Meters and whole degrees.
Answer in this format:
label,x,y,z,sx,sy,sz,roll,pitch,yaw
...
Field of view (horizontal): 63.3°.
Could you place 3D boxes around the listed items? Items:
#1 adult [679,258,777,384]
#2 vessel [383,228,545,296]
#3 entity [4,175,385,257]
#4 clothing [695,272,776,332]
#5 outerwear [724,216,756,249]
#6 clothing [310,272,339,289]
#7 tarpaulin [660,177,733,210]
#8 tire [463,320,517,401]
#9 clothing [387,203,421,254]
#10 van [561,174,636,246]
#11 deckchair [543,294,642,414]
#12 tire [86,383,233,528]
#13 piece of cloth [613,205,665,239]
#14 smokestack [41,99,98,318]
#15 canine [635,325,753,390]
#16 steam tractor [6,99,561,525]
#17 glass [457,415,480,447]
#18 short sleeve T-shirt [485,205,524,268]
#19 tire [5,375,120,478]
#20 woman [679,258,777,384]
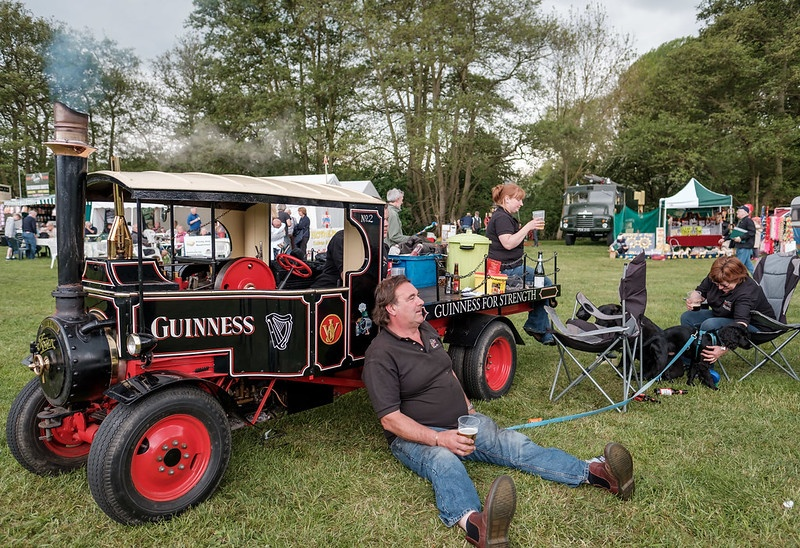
label,x,y,z,sx,sy,sz,roll,pitch,yaw
adult,4.390,0.551,8.739,1.243,1.799,0.921,-12,24,-14
vessel,0.560,-0.163,8.537,1.007,0.959,0.783,6,1,14
entity,-3.143,-0.826,10.061,4.470,1.231,3.196,0,0,-21
clothing,4.429,0.201,8.568,0.547,0.686,0.906,7,8,-27
outerwear,7.765,-0.856,14.819,0.756,0.837,0.594,-2,13,7
clothing,-0.838,0.091,7.348,0.244,0.104,0.175,-10,42,-10
tarpaulin,10.566,-2.670,23.079,1.406,0.768,1.489,0,3,8
tire,1.088,1.082,8.034,0.264,0.829,0.796,9,-5,33
clothing,0.009,-0.560,9.338,0.459,0.810,0.585,-3,14,-3
van,8.969,-2.783,28.856,2.355,3.113,5.107,3,4,31
deckchair,2.654,0.925,8.145,1.203,1.648,1.322,4,-4,-30
tire,-2.256,1.693,6.259,1.264,1.471,0.421,-7,17,-44
piece of cloth,9.237,-1.975,25.209,1.904,1.891,0.163,1,-3,5
smokestack,-3.103,-0.595,6.129,0.355,2.030,0.484,-1,7,3
canine,3.732,1.031,8.313,1.241,0.813,0.445,-1,7,-2
steam tractor,-1.014,0.482,8.534,6.700,4.128,2.914,-1,1,-44
glass,0.675,1.508,6.236,0.218,0.348,0.212,2,-3,-40
short sleeve T-shirt,1.507,-0.728,9.023,0.598,1.022,1.139,-1,8,6
tire,-3.242,1.481,6.259,0.300,0.878,0.894,9,16,29
woman,4.351,0.568,8.724,1.263,1.785,0.961,-11,23,-13
